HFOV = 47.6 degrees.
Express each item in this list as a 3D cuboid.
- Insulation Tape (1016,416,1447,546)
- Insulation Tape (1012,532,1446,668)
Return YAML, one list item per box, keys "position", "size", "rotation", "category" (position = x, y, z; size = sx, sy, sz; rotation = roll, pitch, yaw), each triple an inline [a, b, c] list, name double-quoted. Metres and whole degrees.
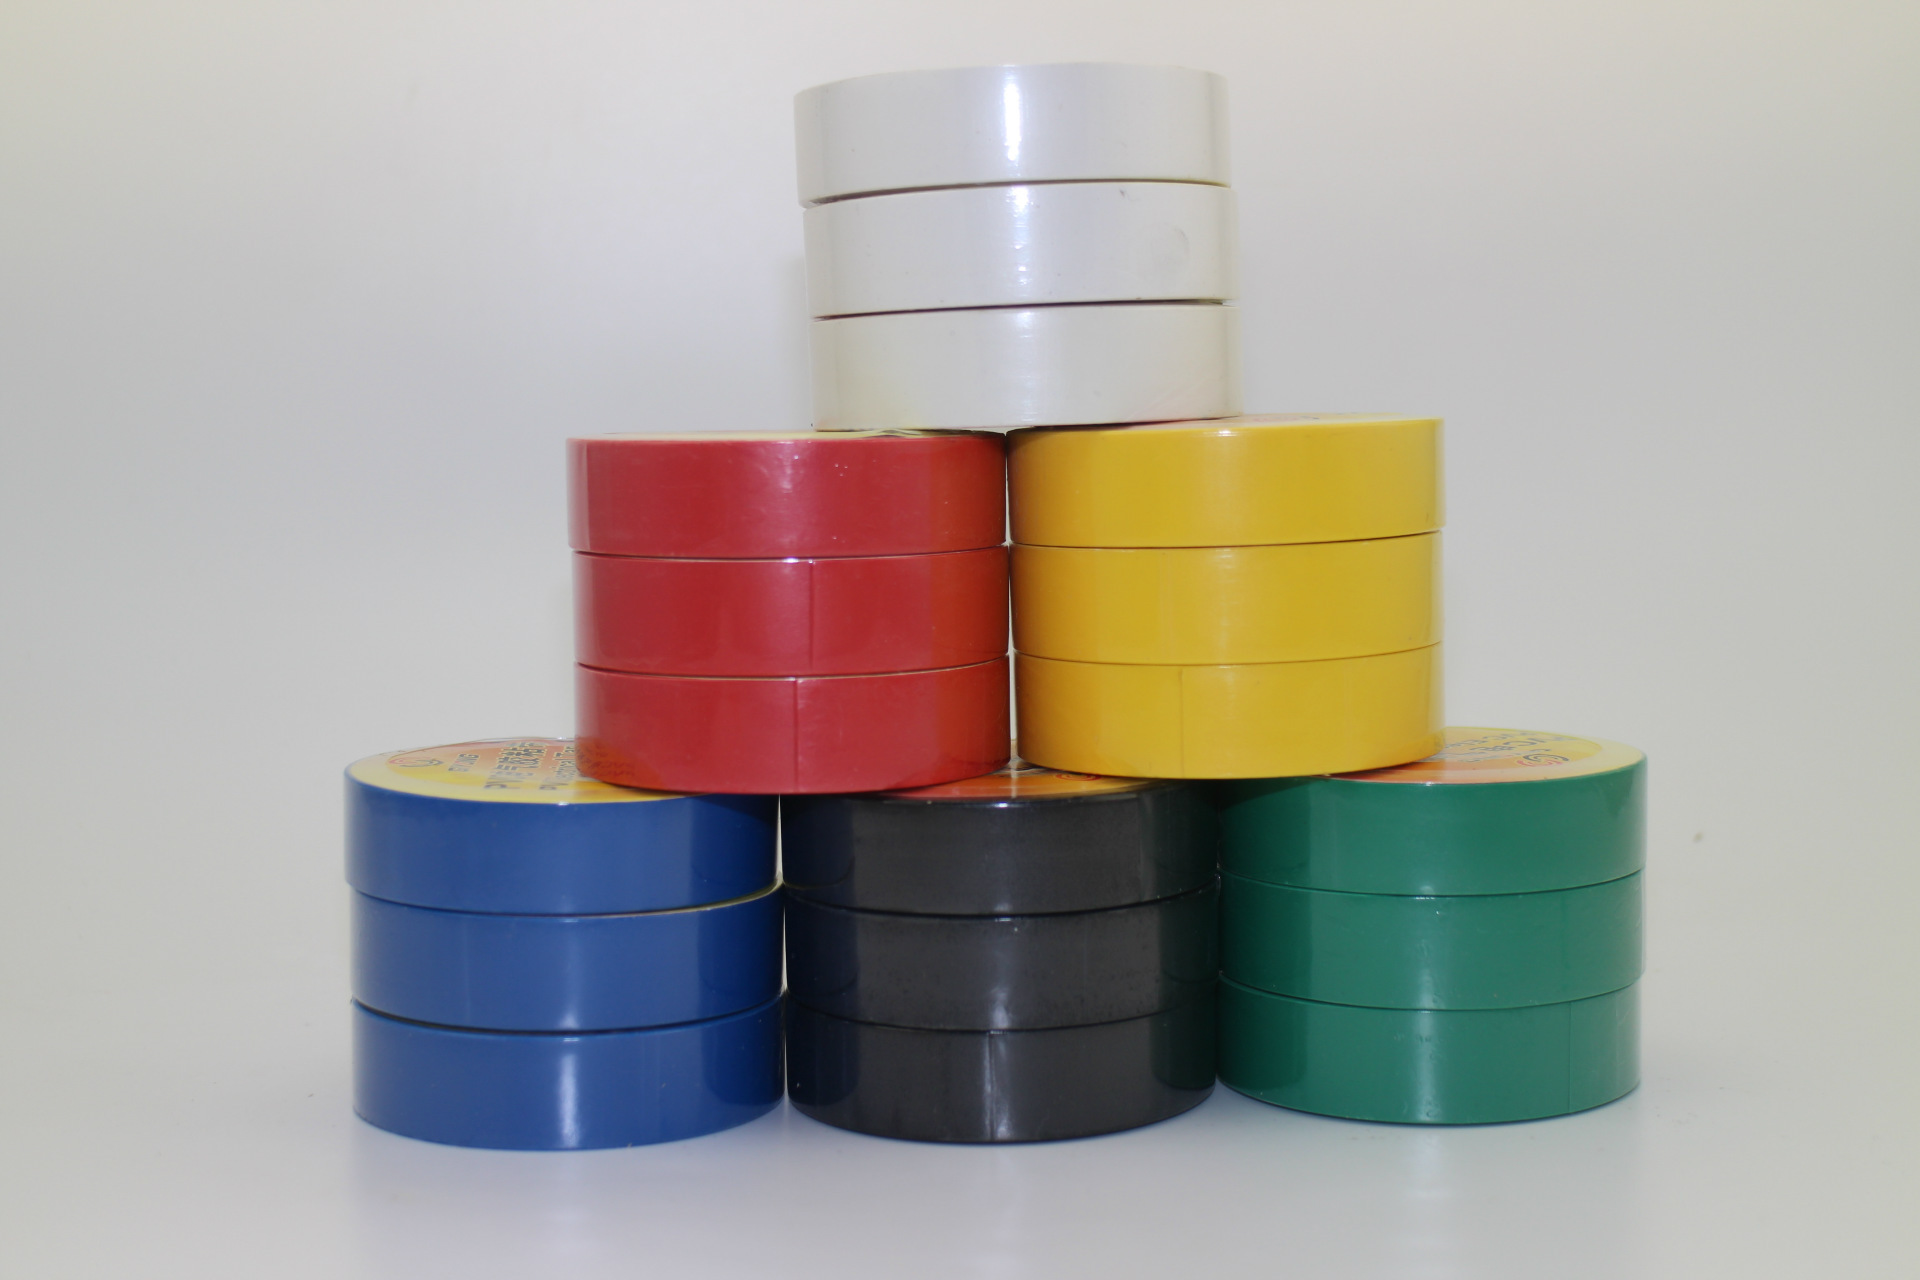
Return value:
- position: [0.367, -0.215, 2.992]
  size: [0.594, 0.167, 0.158]
  rotation: [-1, 11, 1]
  category: "Insulation Tape"
- position: [0.363, -0.057, 2.998]
  size: [0.566, 0.165, 0.147]
  rotation: [-1, 11, 2]
  category: "Insulation Tape"
